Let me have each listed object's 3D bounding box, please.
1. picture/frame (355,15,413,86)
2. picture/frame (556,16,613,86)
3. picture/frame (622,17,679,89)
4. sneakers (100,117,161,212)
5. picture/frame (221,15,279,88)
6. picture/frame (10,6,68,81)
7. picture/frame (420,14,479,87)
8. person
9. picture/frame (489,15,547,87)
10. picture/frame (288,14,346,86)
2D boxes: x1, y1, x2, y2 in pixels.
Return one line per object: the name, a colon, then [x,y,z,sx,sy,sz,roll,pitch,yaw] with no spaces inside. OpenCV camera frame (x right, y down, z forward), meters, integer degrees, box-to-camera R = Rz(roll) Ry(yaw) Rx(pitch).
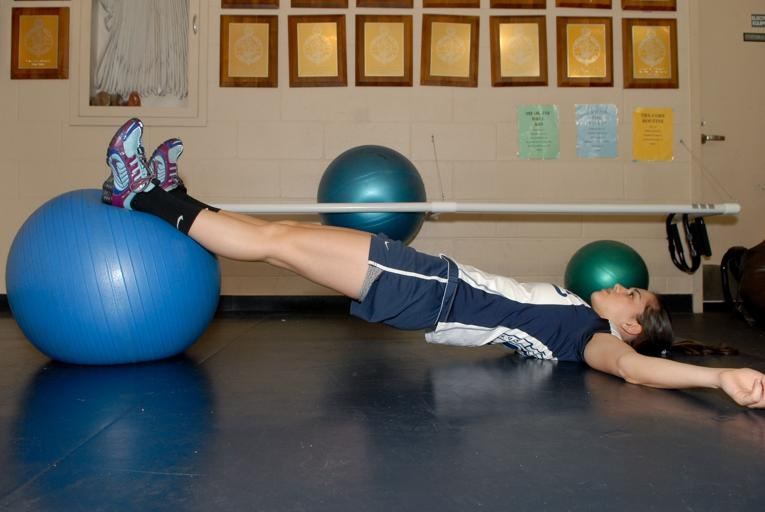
picture/frame: [0.009,-1.594,4.557,0.537,0.591,0.052,0,1,-2]
picture/frame: [1.564,-1.593,4.596,0.537,0.609,0.049,-1,0,-5]
picture/frame: [2.067,-1.569,4.613,0.565,0.669,0.069,0,-2,-4]
sneakers: [-1.137,-0.381,2.738,0.217,0.472,0.161,16,8,23]
picture/frame: [-1.045,-1.584,4.562,0.553,0.650,0.052,1,-2,-6]
picture/frame: [-2.651,-1.633,4.588,0.588,0.713,0.068,0,-2,-1]
picture/frame: [0.492,-1.590,4.571,0.573,0.642,0.054,0,4,-1]
person: [-0.001,0.073,2.674,2.429,0.504,1.381,14,2,-9]
picture/frame: [1.053,-1.592,4.589,0.546,0.589,0.046,-1,-2,-3]
picture/frame: [-0.504,-1.590,4.565,0.562,0.611,0.045,0,1,-1]
